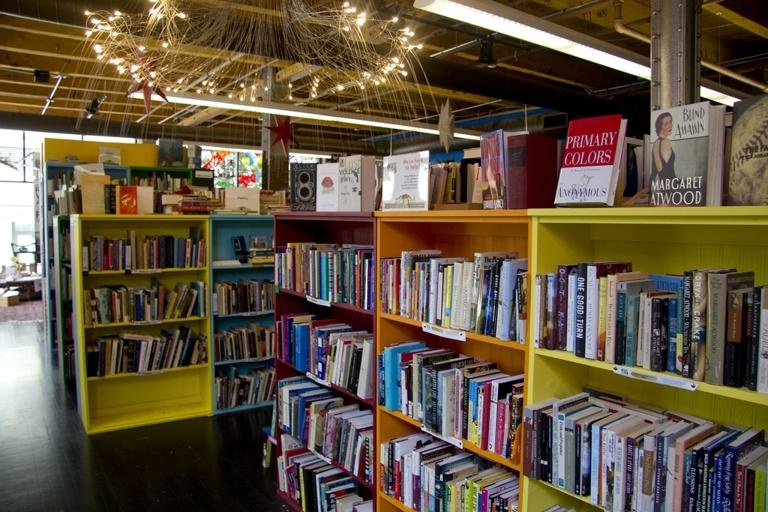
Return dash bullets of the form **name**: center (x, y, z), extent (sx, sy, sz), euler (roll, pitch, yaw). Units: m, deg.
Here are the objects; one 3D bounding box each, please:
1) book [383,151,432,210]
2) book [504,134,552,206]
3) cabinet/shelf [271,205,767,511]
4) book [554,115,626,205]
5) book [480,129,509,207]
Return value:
- **book**: center (0.151, -0.487, 3.987), extent (0.397, 0.383, 0.041), euler (3, 2, 42)
- **book**: center (0.871, -0.488, 3.452), extent (0.317, 0.429, 0.210), euler (1, 12, 1)
- **cabinet/shelf**: center (0.711, 0.723, 3.791), extent (3.013, 2.275, 0.773), euler (9, 14, 36)
- **book**: center (1.142, -0.520, 3.270), extent (0.337, 0.496, 0.247), euler (5, 12, 22)
- **book**: center (0.650, -0.514, 3.550), extent (0.086, 0.461, 0.239), euler (-5, 13, -23)
